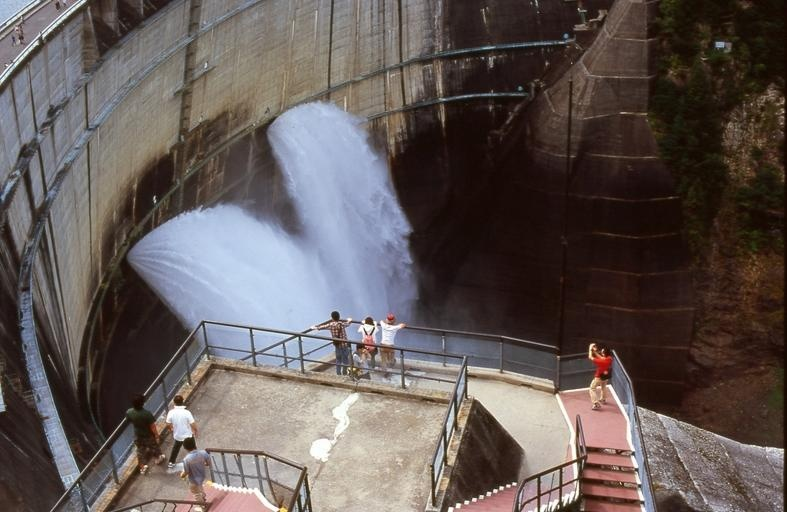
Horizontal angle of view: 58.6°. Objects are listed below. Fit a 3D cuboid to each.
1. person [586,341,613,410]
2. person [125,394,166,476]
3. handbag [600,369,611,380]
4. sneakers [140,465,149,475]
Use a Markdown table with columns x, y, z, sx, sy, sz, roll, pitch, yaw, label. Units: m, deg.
| x | y | z | sx | sy | sz | roll | pitch | yaw | label |
| --- | --- | --- | --- | --- | --- | --- | --- | --- | --- |
| 6.138 | 3.580 | 20.766 | 0.624 | 1.948 | 0.898 | 6 | 9 | 25 | person |
| -6.191 | 4.385 | 17.412 | 0.871 | 2.119 | 0.581 | -1 | 9 | -20 | person |
| 6.297 | 3.505 | 20.667 | 0.147 | 0.336 | 0.564 | 8 | 10 | 35 | handbag |
| -6.247 | 5.342 | 17.509 | 0.225 | 0.216 | 0.082 | 2 | -7 | -7 | sneakers |
